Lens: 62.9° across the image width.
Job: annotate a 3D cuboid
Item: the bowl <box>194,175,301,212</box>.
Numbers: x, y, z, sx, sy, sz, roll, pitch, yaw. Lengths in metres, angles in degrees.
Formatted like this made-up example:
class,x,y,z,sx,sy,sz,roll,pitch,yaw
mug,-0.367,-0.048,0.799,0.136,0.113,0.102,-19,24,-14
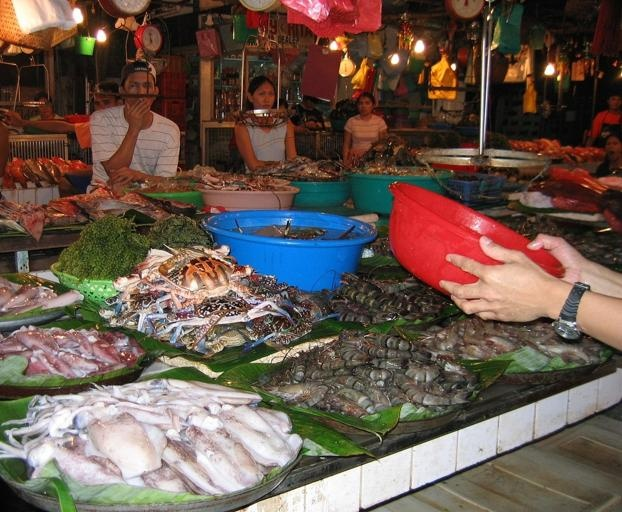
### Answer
class,x,y,z,sx,sy,sz,roll,pitch,yaw
bowl,-0.379,-0.355,2.929,0.841,0.171,0.509,-5,15,-28

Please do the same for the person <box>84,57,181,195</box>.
class,x,y,z,sx,sy,sz,roll,pitch,yaw
person,-1.297,-0.995,3.729,0.641,1.004,0.983,-2,13,-15

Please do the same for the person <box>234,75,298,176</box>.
class,x,y,z,sx,sy,sz,roll,pitch,yaw
person,-0.336,-1.065,4.362,0.534,1.034,0.491,-3,8,-32

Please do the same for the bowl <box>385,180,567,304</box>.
class,x,y,z,sx,sy,sz,roll,pitch,yaw
bowl,0.369,-0.073,1.459,0.596,0.276,0.497,-4,12,-18
